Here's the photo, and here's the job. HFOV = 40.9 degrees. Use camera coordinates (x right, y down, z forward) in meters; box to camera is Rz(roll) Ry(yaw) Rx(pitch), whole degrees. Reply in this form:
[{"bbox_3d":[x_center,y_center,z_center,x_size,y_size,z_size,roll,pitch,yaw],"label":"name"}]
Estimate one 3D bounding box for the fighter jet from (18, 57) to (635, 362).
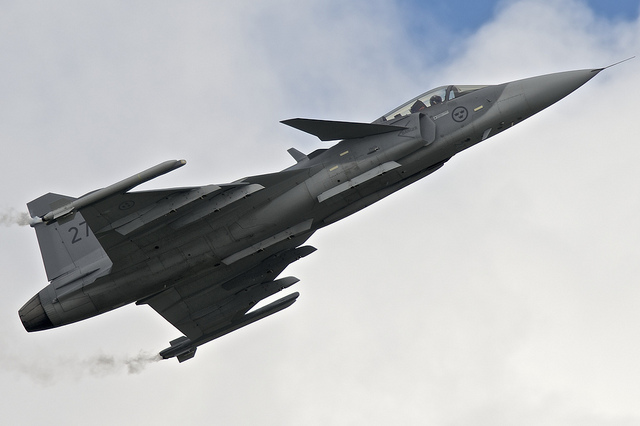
[{"bbox_3d":[-0.686,-0.161,25.247,16.020,4.069,7.820,-19,-21,-2],"label":"fighter jet"}]
